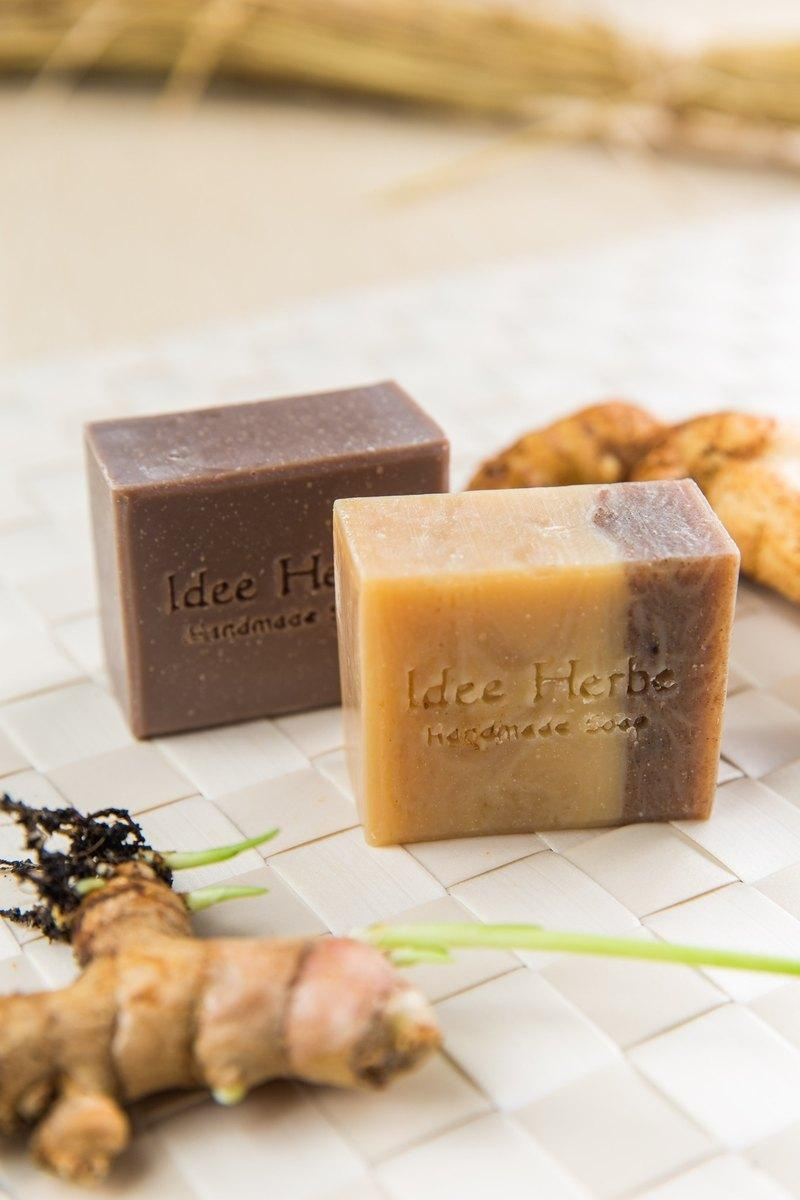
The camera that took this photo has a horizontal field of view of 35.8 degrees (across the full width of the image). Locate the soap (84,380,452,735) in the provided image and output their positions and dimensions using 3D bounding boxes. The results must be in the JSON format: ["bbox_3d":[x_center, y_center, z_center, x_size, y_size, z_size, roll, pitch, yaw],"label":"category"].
[{"bbox_3d":[-0.104,-0.025,0.992,0.303,0.216,0.145,-9,33,-17],"label":"soap"}]

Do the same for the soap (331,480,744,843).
[{"bbox_3d":[0.097,0.048,0.882,0.295,0.210,0.132,-4,30,-7],"label":"soap"}]
